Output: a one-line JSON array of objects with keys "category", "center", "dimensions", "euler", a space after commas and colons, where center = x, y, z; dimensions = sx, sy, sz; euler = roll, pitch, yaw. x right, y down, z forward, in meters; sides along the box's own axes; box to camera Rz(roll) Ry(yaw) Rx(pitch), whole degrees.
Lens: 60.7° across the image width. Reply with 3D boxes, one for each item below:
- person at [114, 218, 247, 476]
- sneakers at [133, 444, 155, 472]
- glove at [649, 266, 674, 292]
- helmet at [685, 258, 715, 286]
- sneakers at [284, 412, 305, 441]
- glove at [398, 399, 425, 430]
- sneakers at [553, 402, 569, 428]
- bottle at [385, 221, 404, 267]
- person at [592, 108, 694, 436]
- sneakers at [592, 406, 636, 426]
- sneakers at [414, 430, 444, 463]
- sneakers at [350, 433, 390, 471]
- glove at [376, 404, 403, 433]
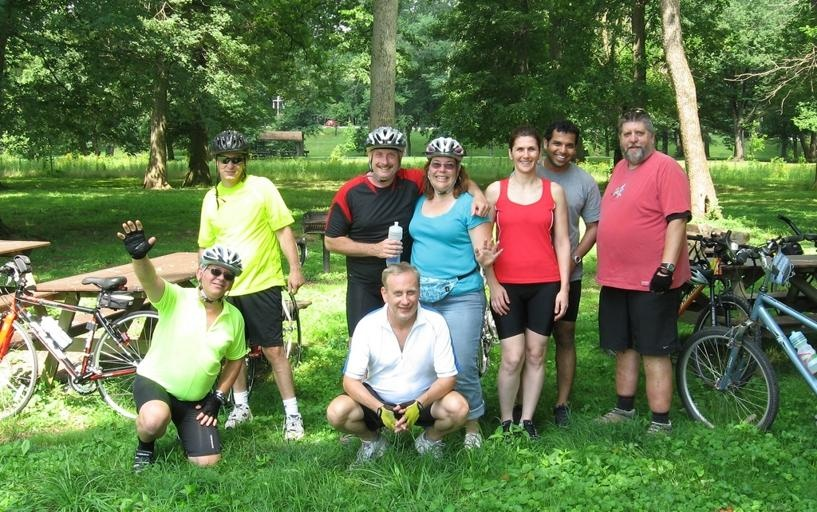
[{"category": "person", "center": [-2.546, 0.935, 7.879], "dimensions": [1.240, 2.719, 0.756], "euler": [-4, 14, -8]}, {"category": "sneakers", "center": [-2.972, 2.224, 7.818], "dimensions": [0.238, 0.264, 0.193], "euler": [-8, 16, -22]}, {"category": "glove", "center": [2.961, 0.258, 8.113], "dimensions": [0.290, 0.324, 0.145], "euler": [-2, 14, -1]}, {"category": "helmet", "center": [4.092, 0.296, 9.752], "dimensions": [0.415, 0.259, 0.574], "euler": [8, 18, 13]}, {"category": "sneakers", "center": [-1.412, 2.095, 8.613], "dimensions": [0.247, 0.229, 0.411], "euler": [-4, 15, -10]}, {"category": "glove", "center": [0.027, 1.762, 7.793], "dimensions": [0.286, 0.361, 0.235], "euler": [-5, 15, -14]}, {"category": "sneakers", "center": [1.922, 1.986, 8.716], "dimensions": [0.171, 0.212, 0.477], "euler": [-1, -7, 8]}, {"category": "bottle", "center": [-0.158, -0.159, 8.271], "dimensions": [0.211, 0.483, 0.360], "euler": [-2, 15, 0]}, {"category": "person", "center": [2.797, 0.189, 8.377], "dimensions": [1.052, 3.756, 0.878], "euler": [5, 16, 24]}, {"category": "sneakers", "center": [2.572, 1.979, 8.638], "dimensions": [0.527, 0.214, 0.194], "euler": [-1, -8, -2]}, {"category": "sneakers", "center": [0.227, 2.186, 8.031], "dimensions": [0.406, 0.185, 0.161], "euler": [21, 3, 22]}, {"category": "sneakers", "center": [-0.430, 2.203, 8.037], "dimensions": [0.547, 0.233, 0.196], "euler": [-34, 9, -24]}, {"category": "glove", "center": [-0.203, 1.770, 7.775], "dimensions": [0.284, 0.247, 0.219], "euler": [1, 15, 10]}]
